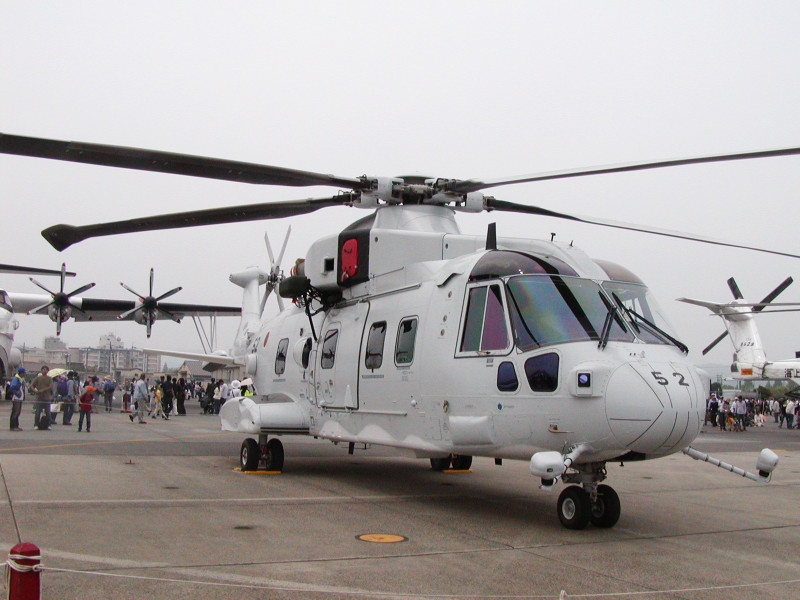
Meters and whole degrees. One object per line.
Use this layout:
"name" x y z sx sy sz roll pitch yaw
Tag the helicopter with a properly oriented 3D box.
"helicopter" 0.428 0.645 10.996 7.680 2.817 7.586 5 -7 -33
